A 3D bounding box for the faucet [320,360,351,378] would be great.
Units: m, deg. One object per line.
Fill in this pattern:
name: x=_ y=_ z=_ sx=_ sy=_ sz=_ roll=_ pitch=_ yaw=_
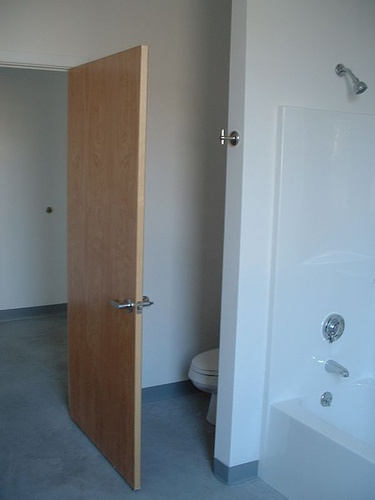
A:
faucet: x=0.658 y=0.527 z=1.874 sx=0.107 sy=0.063 sz=0.026 roll=38 pitch=7 yaw=32
